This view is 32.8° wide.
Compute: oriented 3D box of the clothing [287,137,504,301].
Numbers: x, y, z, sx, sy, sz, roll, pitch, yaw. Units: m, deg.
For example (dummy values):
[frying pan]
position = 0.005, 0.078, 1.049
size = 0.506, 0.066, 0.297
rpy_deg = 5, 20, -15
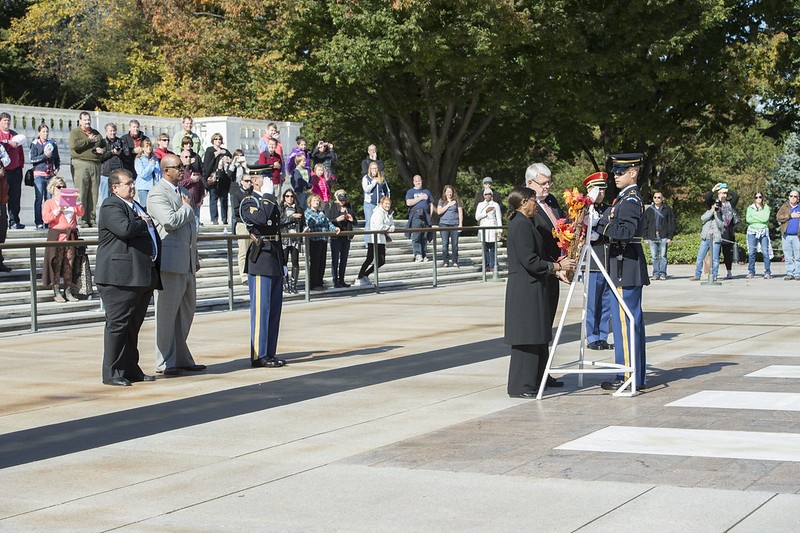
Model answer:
[clothing]
position = 0.000, -1.127, 34.830
size = 4.210, 3.186, 5.786
rpy_deg = 0, 2, 11
